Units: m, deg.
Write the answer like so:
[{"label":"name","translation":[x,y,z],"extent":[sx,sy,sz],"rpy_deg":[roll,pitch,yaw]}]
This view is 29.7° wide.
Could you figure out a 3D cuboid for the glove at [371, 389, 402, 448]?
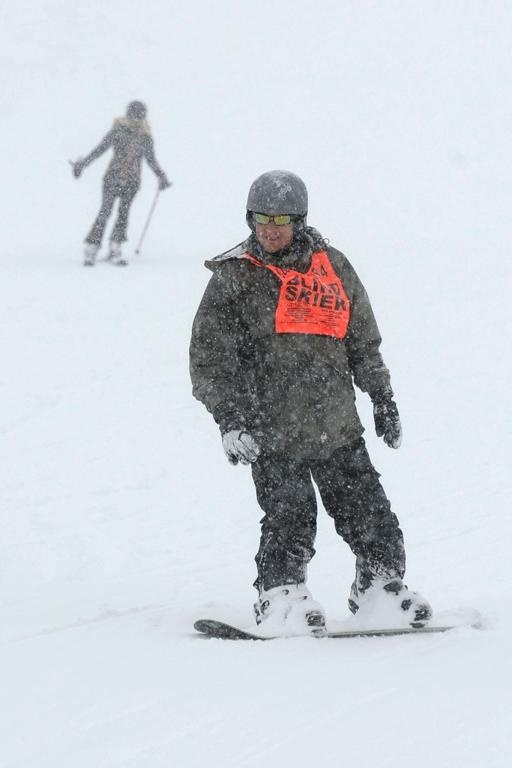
[{"label":"glove","translation":[0.710,0.186,5.236],"extent":[0.133,0.357,0.114],"rpy_deg":[-21,-46,21]}]

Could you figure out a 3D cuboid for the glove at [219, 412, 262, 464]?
[{"label":"glove","translation":[-0.092,0.318,5.091],"extent":[0.188,0.211,0.139],"rpy_deg":[-1,7,32]}]

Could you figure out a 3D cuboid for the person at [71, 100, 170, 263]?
[{"label":"person","translation":[-1.723,-2.581,12.653],"extent":[1.183,2.035,1.000],"rpy_deg":[-6,6,-5]}]

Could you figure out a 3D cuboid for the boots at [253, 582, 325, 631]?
[{"label":"boots","translation":[0.195,1.221,5.253],"extent":[0.302,0.297,0.226],"rpy_deg":[-14,-10,16]}]

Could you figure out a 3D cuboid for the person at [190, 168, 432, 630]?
[{"label":"person","translation":[0.259,0.118,5.335],"extent":[1.166,2.563,0.572],"rpy_deg":[-7,7,-17]}]

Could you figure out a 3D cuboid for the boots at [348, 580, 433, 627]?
[{"label":"boots","translation":[0.752,1.222,5.424],"extent":[0.361,0.191,0.245],"rpy_deg":[-4,-4,19]}]
